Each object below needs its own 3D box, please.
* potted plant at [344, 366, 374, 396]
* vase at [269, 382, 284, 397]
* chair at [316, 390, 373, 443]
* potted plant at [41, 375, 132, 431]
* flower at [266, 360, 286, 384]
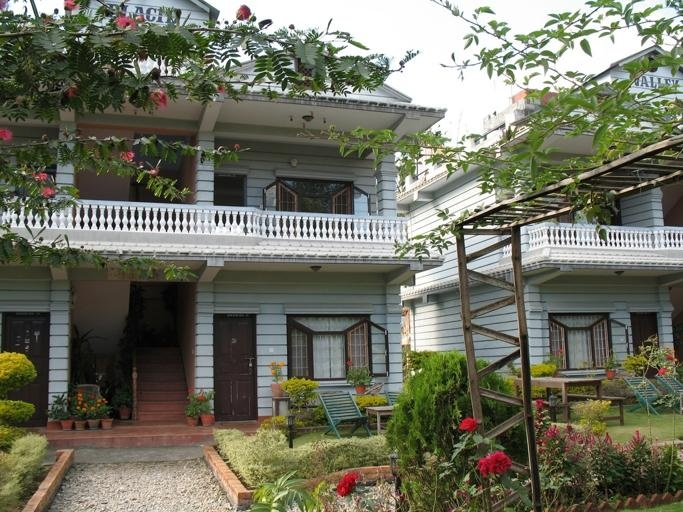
[{"bbox_3d":[0.438,3.124,18.758,0.625,0.621,0.662,1,-8,-7],"label":"potted plant"},{"bbox_3d":[-1.553,3.195,18.049,0.367,0.240,0.341,2,-14,-6],"label":"vase"},{"bbox_3d":[0.083,3.258,15.796,0.847,0.876,1.137,4,-10,-25],"label":"chair"},{"bbox_3d":[-5.823,3.321,16.649,1.326,0.974,0.795,3,-12,-20],"label":"potted plant"},{"bbox_3d":[-1.537,2.782,18.278,0.564,0.531,0.460,5,-14,-25],"label":"flower"}]
